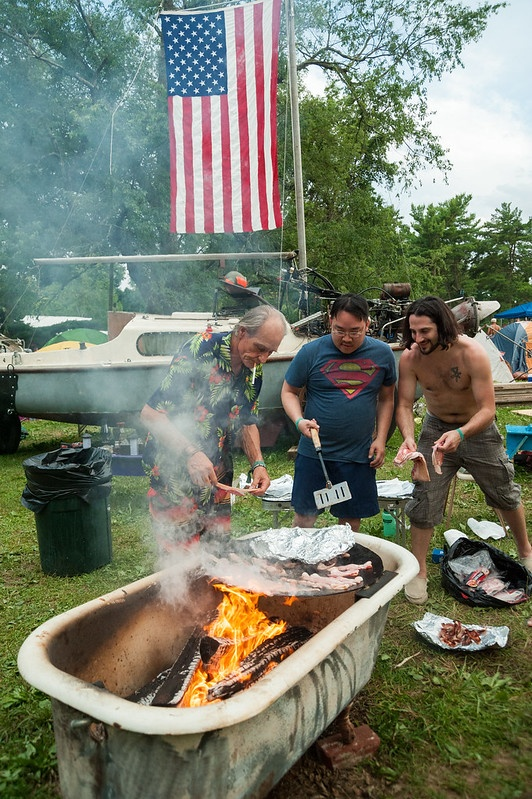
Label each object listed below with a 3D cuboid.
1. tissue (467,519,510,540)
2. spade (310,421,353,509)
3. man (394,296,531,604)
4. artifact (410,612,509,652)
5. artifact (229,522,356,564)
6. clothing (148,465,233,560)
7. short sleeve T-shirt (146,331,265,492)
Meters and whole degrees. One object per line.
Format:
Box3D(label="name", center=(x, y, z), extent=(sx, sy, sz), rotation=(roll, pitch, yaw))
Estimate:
Box3D(label="tissue", center=(1.523, 0.885, 4.415), extent=(0.231, 0.072, 0.367), rotation=(-5, 6, -5))
Box3D(label="spade", center=(0.316, 0.373, 3.131), extent=(0.194, 0.450, 0.410), rotation=(0, 9, 6))
Box3D(label="man", center=(1.058, 0.283, 3.459), extent=(0.721, 1.647, 0.693), rotation=(0, 10, 11))
Box3D(label="artifact", center=(0.922, 1.122, 3.093), extent=(0.190, 0.068, 0.261), rotation=(-2, 0, -43))
Box3D(label="artifact", center=(0.125, 0.588, 2.653), extent=(0.307, 0.069, 0.207), rotation=(3, 3, 17))
Box3D(label="clothing", center=(-0.309, 0.457, 2.776), extent=(0.386, 0.330, 0.207), rotation=(-11, 4, -27))
Box3D(label="short sleeve T-shirt", center=(-0.216, 0.051, 2.744), extent=(0.297, 0.671, 0.562), rotation=(3, 11, 26))
